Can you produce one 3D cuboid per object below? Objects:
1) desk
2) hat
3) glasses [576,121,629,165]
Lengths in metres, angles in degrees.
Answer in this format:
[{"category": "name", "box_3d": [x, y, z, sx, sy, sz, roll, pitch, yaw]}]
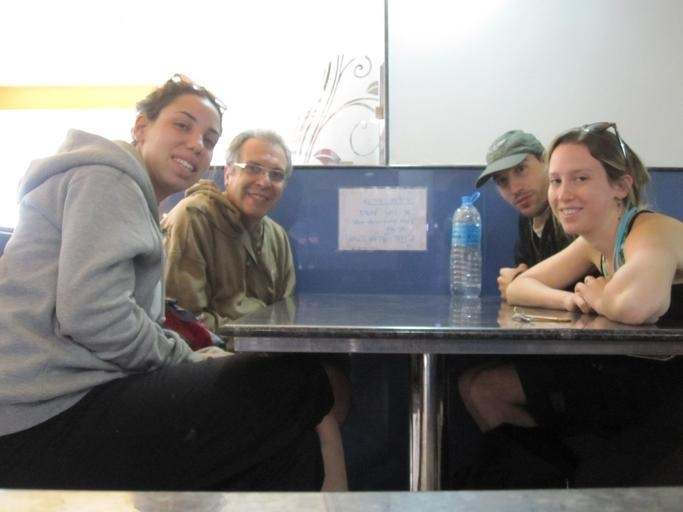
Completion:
[{"category": "desk", "box_3d": [0.342, 0.395, 1.936, 1.196, 0.509, 0.717, -1, 7, 9]}, {"category": "hat", "box_3d": [0.719, -0.435, 2.658, 0.298, 0.155, 0.197, -25, -3, -20]}, {"category": "glasses", "box_3d": [1.069, -0.471, 2.503, 0.057, 0.191, 0.183, -12, 11, -41]}]
